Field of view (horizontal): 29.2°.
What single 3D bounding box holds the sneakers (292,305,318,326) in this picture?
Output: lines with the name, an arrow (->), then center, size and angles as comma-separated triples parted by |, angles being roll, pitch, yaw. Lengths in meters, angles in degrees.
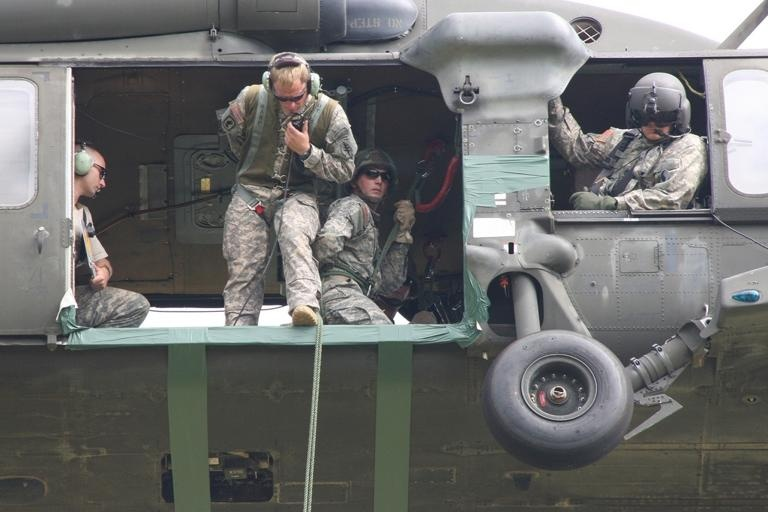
sneakers -> -0.675, 0.528, 12.898 | 0.226, 0.192, 0.156 | 0, 2, -3

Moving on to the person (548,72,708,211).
person -> 2.303, -1.082, 13.810 | 0.987, 1.447, 1.150 | 27, -15, -37

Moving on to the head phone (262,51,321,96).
head phone -> -0.815, -1.612, 13.179 | 0.535, 0.395, 0.203 | -1, 24, 6

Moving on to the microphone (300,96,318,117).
microphone -> -0.644, -1.338, 13.298 | 0.087, 0.166, 0.137 | 23, -13, -19

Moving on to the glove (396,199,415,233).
glove -> 0.221, -0.391, 14.493 | 0.213, 0.283, 0.143 | 2, -12, 7

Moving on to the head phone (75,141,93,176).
head phone -> -2.672, -0.875, 13.336 | 0.189, 0.244, 0.093 | -11, 7, -29

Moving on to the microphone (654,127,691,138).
microphone -> 2.633, -1.126, 13.570 | 0.137, 0.060, 0.176 | 5, -8, -28

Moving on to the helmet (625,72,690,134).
helmet -> 2.467, -1.400, 13.566 | 0.564, 0.475, 0.590 | 0, 0, 21

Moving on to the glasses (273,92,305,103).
glasses -> -0.811, -1.395, 13.059 | 0.248, 0.059, 0.077 | 0, 2, -3
